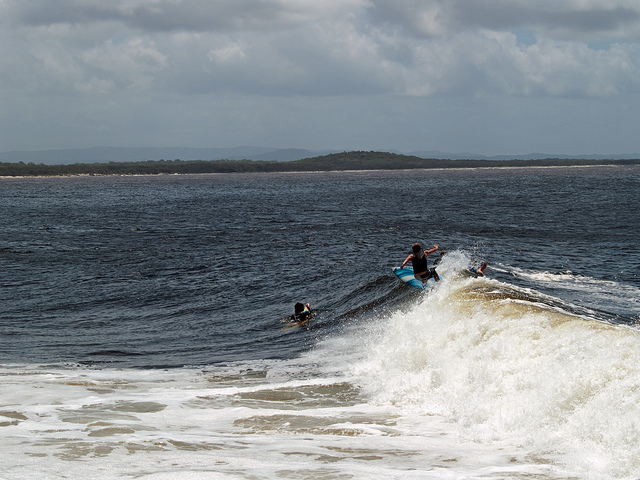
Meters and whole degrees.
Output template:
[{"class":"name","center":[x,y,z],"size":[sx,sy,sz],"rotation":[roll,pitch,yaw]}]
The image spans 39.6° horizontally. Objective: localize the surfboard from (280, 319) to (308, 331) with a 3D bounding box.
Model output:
[{"class":"surfboard","center":[-0.957,3.164,32.850],"size":[0.472,0.185,0.958],"rotation":[30,39,34]}]

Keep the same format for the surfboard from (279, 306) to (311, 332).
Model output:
[{"class":"surfboard","center":[-0.929,3.057,32.834],"size":[0.877,0.173,0.497],"rotation":[-24,32,-36]}]

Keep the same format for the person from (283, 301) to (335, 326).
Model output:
[{"class":"person","center":[-0.391,2.714,33.561],"size":[1.962,0.898,0.724],"rotation":[-15,56,-13]}]
